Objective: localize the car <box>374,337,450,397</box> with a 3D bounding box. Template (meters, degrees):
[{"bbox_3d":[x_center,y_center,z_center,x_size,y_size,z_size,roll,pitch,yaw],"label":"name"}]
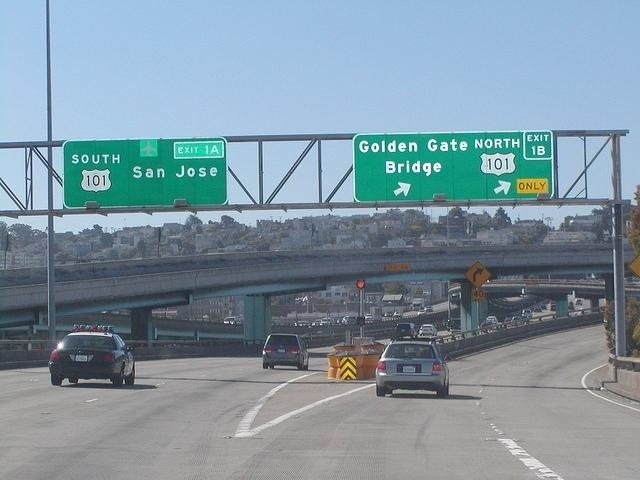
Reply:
[{"bbox_3d":[3.781,5.088,56.284,2.744,2.357,6.944,1,-2,7],"label":"car"}]

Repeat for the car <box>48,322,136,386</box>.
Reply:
[{"bbox_3d":[-9.521,4.806,57.876,2.605,2.294,6.343,1,-3,-2],"label":"car"}]

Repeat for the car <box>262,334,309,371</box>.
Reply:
[{"bbox_3d":[-1.726,5.700,70.517,1.942,1.974,3.577,-1,-5,7],"label":"car"}]
